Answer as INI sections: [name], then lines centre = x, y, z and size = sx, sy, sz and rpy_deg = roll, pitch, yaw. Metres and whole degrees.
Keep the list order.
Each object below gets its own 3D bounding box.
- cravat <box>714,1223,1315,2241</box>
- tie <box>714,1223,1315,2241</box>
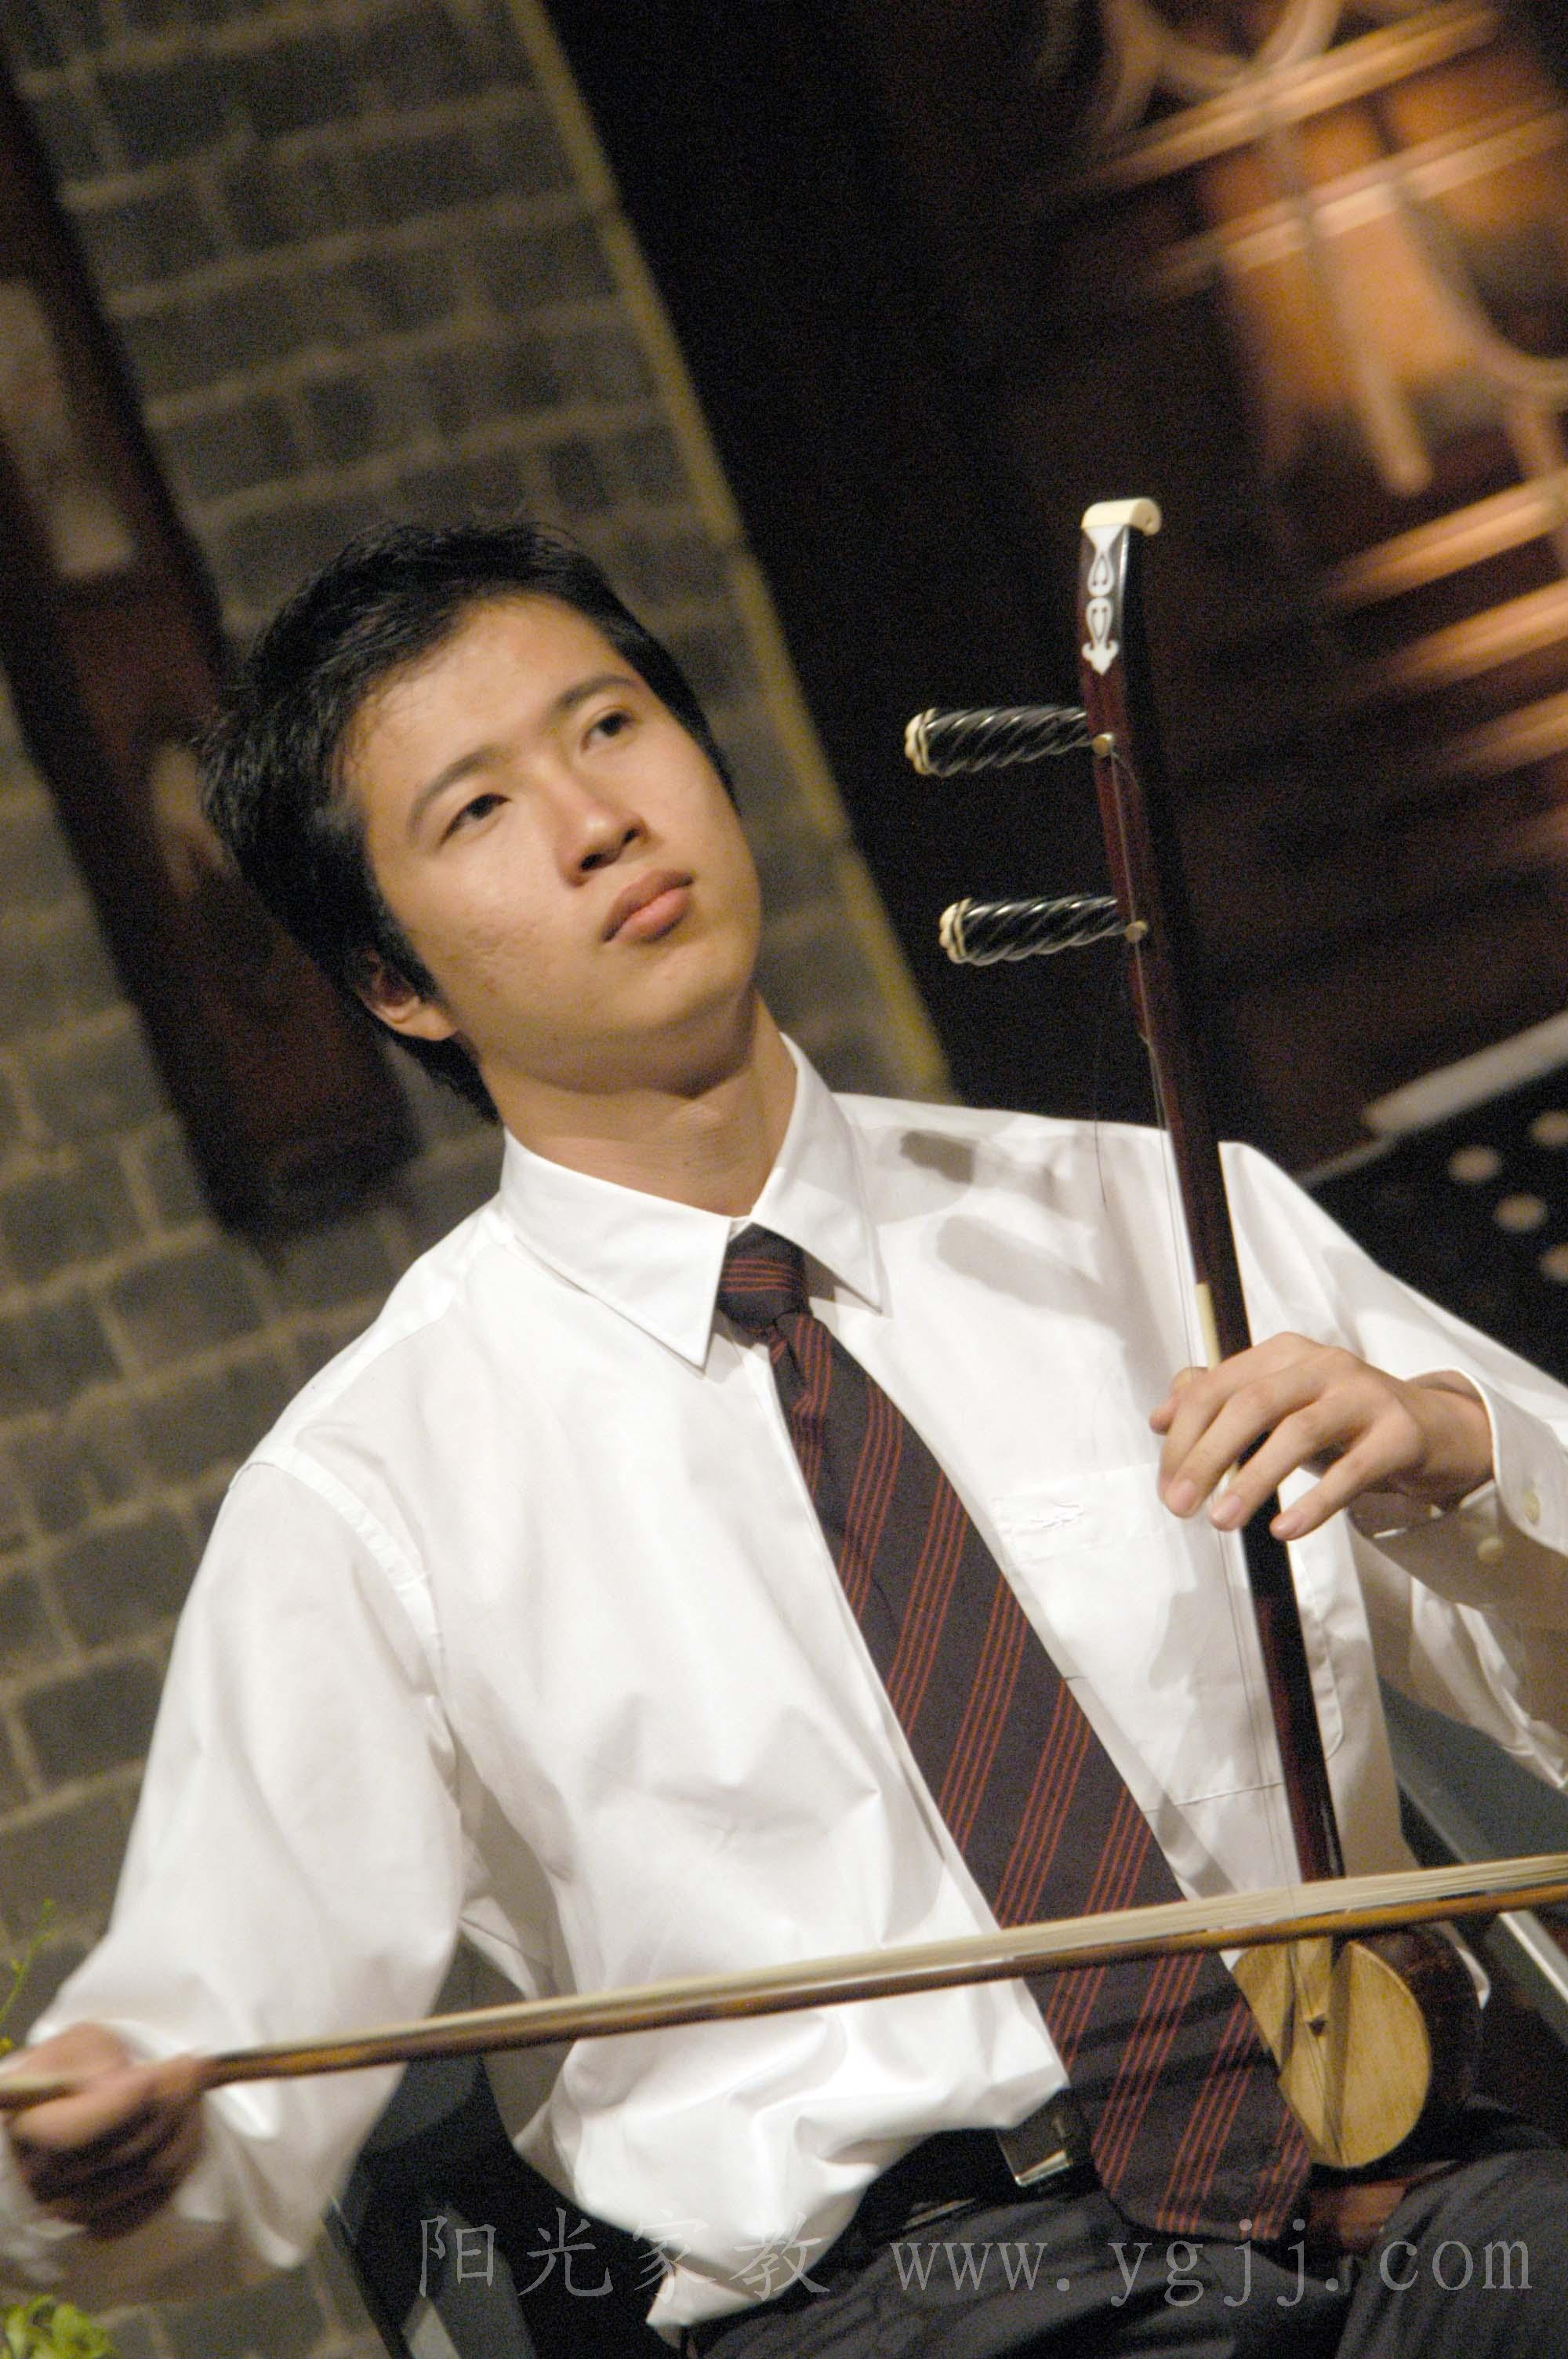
[cravat]
centre = 0.064, 0.164, 0.747
size = 0.081, 0.352, 0.031
rpy_deg = -27, -15, -10
[tie]
centre = 0.066, 0.169, 0.745
size = 0.081, 0.352, 0.031
rpy_deg = -27, -15, -10
